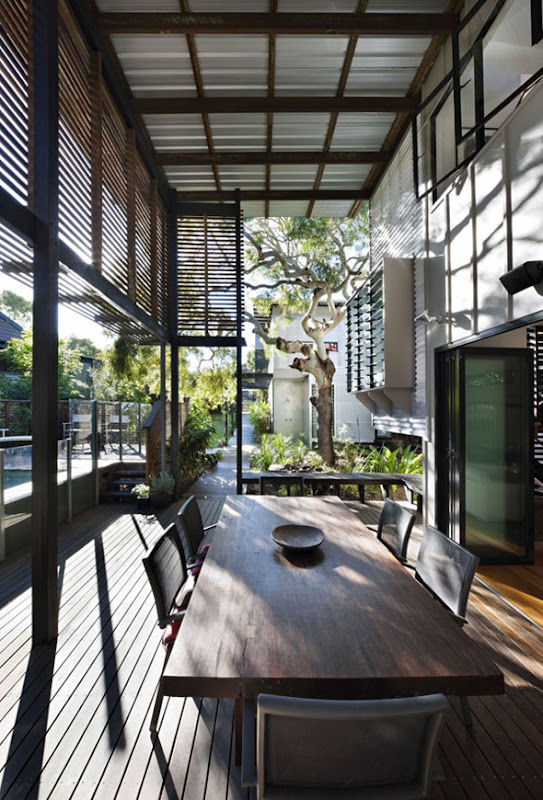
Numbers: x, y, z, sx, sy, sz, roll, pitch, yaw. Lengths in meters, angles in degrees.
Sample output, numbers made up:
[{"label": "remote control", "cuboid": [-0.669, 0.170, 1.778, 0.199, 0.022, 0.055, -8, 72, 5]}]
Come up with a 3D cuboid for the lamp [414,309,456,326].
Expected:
[{"label": "lamp", "cuboid": [1.581, -0.793, 4.846, 0.228, 0.095, 0.234, -9, 15, -31]}]
